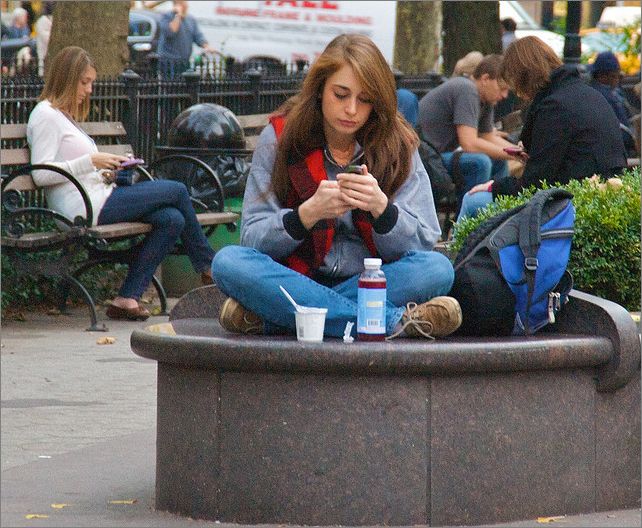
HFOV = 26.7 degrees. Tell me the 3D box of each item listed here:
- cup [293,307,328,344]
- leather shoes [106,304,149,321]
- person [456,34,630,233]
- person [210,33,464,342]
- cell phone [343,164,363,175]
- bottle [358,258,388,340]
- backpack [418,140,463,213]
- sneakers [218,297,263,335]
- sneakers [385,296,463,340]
[{"bbox_3d":[-0.056,0.303,6.699,0.140,0.153,0.160,2,-7,-3],"label":"cup"},{"bbox_3d":[-1.551,0.384,10.737,0.361,0.173,0.143,1,1,-13],"label":"leather shoes"},{"bbox_3d":[1.364,-0.910,8.820,1.134,1.727,0.975,0,6,28],"label":"person"},{"bbox_3d":[0.104,-0.398,7.234,1.094,1.733,1.106,1,-7,10],"label":"person"},{"bbox_3d":[0.167,-0.489,6.895,0.095,0.048,0.167,-1,12,-1],"label":"cell phone"},{"bbox_3d":[0.251,0.173,6.767,0.139,0.400,0.107,-1,10,-2],"label":"bottle"},{"bbox_3d":[1.014,-0.780,11.325,0.209,0.474,0.646,-6,23,-6],"label":"backpack"},{"bbox_3d":[-0.421,0.271,6.971,0.230,0.187,0.132,-1,10,-3],"label":"sneakers"},{"bbox_3d":[0.553,0.284,6.919,0.293,0.162,0.223,-14,29,7],"label":"sneakers"}]
